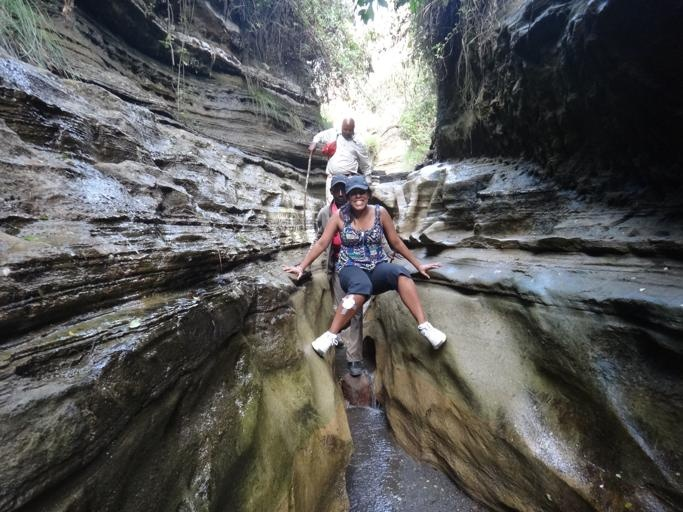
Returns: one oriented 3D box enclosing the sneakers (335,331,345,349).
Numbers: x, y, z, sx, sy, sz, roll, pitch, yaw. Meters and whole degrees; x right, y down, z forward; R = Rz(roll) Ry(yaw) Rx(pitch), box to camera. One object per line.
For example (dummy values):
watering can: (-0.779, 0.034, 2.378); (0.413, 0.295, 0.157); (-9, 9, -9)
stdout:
sneakers: (-0.001, 1.118, 4.616); (0.075, 0.252, 0.152); (3, 14, -9)

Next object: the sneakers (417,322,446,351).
sneakers: (1.025, 0.909, 4.367); (0.196, 0.204, 0.384); (46, -6, -25)

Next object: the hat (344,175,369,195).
hat: (0.190, -0.904, 4.444); (0.214, 0.188, 0.320); (-7, -3, 5)

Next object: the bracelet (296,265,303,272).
bracelet: (-0.482, 0.151, 4.480); (0.064, 0.034, 0.076); (22, 17, -12)

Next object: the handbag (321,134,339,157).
handbag: (-0.199, -2.187, 7.274); (0.122, 0.310, 0.229); (37, -46, -9)
